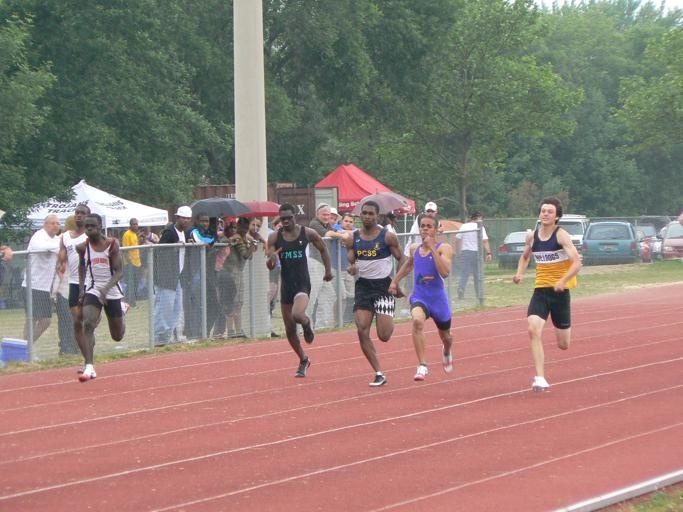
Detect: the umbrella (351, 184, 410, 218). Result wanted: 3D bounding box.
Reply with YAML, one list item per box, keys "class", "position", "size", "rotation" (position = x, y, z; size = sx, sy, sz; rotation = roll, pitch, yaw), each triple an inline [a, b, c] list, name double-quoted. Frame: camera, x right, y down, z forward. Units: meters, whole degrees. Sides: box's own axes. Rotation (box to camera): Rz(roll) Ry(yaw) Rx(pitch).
- class: "umbrella"
  position: [0.955, -1.079, 20.608]
  size: [1.018, 0.372, 1.020]
  rotation: [-3, 6, 45]

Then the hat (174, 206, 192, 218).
- class: "hat"
  position: [-2.966, -0.814, 19.159]
  size: [0.245, 0.159, 0.300]
  rotation: [2, -2, -20]

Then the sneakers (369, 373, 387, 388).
- class: "sneakers"
  position: [0.509, 1.789, 14.660]
  size: [0.231, 0.192, 0.258]
  rotation: [0, 5, 2]

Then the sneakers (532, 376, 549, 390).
- class: "sneakers"
  position: [2.746, 1.765, 14.111]
  size: [0.128, 0.155, 0.353]
  rotation: [-1, 2, 27]

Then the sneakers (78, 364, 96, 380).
- class: "sneakers"
  position: [-3.748, 1.729, 14.989]
  size: [0.137, 0.157, 0.353]
  rotation: [-3, -1, -30]

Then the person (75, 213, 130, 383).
- class: "person"
  position: [-3.620, 0.634, 15.348]
  size: [0.680, 2.553, 1.043]
  rotation: [-2, 5, -14]

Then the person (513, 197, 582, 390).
- class: "person"
  position: [2.907, 0.539, 14.197]
  size: [0.743, 2.669, 0.808]
  rotation: [1, 5, 10]

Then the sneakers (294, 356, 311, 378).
- class: "sneakers"
  position: [-0.612, 1.688, 15.441]
  size: [0.126, 0.388, 0.162]
  rotation: [-6, -45, 27]

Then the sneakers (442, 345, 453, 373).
- class: "sneakers"
  position: [1.568, 1.570, 15.200]
  size: [0.133, 0.399, 0.160]
  rotation: [-3, 18, 2]

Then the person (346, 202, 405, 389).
- class: "person"
  position: [0.487, 0.513, 15.144]
  size: [0.839, 2.681, 1.572]
  rotation: [0, 5, 0]

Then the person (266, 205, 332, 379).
- class: "person"
  position: [-0.628, 0.536, 15.237]
  size: [0.711, 2.629, 0.884]
  rotation: [4, 7, 41]
